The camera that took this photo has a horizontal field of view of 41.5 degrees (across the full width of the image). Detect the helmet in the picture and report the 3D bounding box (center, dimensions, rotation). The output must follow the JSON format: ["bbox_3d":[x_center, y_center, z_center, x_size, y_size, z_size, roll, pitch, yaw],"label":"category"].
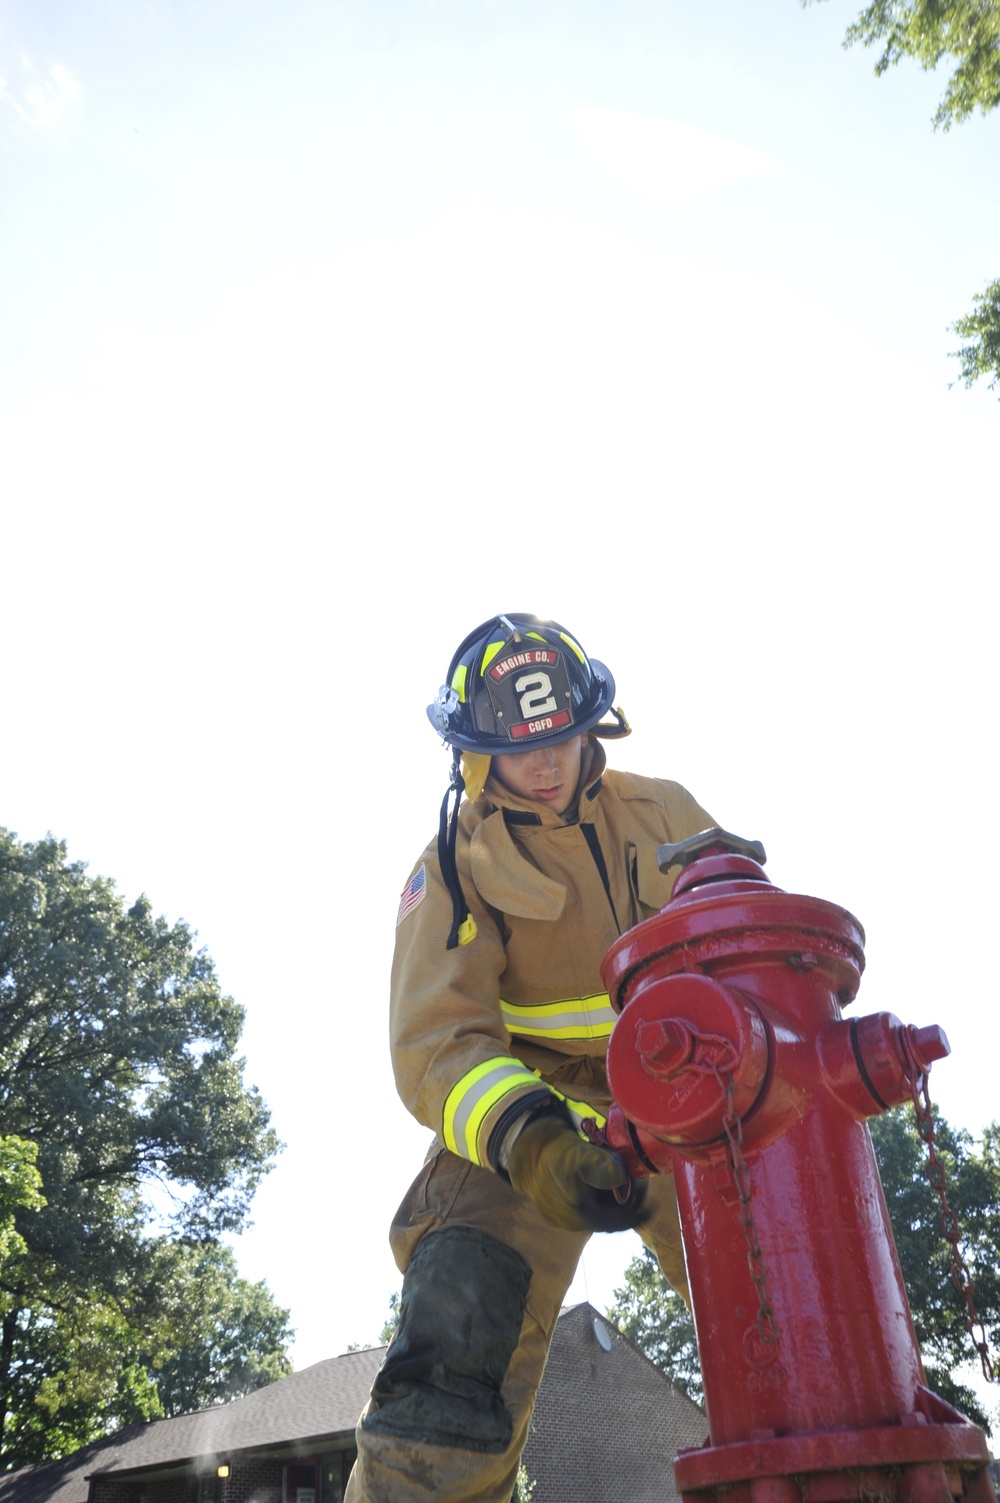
[{"bbox_3d":[0.088,-0.169,3.918,0.484,0.524,0.324,-15,-77,-4],"label":"helmet"}]

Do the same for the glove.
[{"bbox_3d":[0.149,0.786,2.524,0.249,0.083,0.195,26,-23,24],"label":"glove"}]
